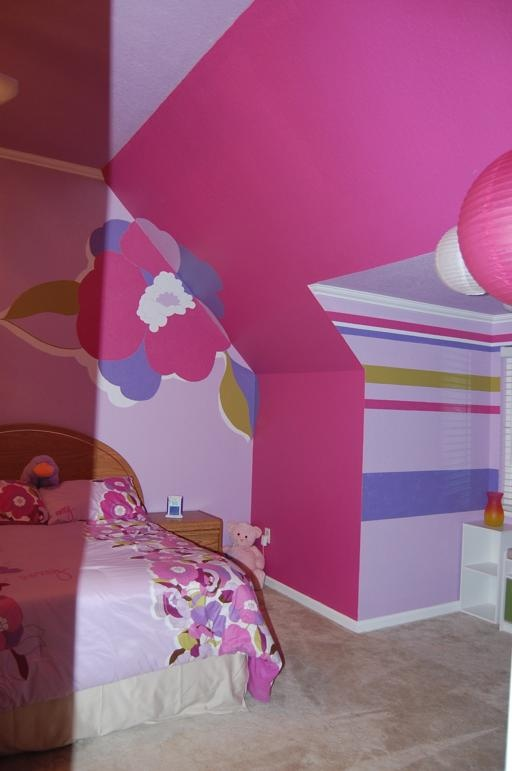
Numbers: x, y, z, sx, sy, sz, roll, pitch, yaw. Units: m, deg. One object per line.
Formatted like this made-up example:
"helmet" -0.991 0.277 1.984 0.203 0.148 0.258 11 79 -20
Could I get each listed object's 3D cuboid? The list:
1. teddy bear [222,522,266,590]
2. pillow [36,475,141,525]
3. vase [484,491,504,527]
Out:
"teddy bear" -0.143 1.274 4.366 0.337 0.429 0.289 7 21 0
"pillow" -1.060 0.722 3.640 0.415 0.285 0.110 -1 -47 -27
"vase" 1.650 0.879 4.022 0.122 0.240 0.180 1 -4 20
